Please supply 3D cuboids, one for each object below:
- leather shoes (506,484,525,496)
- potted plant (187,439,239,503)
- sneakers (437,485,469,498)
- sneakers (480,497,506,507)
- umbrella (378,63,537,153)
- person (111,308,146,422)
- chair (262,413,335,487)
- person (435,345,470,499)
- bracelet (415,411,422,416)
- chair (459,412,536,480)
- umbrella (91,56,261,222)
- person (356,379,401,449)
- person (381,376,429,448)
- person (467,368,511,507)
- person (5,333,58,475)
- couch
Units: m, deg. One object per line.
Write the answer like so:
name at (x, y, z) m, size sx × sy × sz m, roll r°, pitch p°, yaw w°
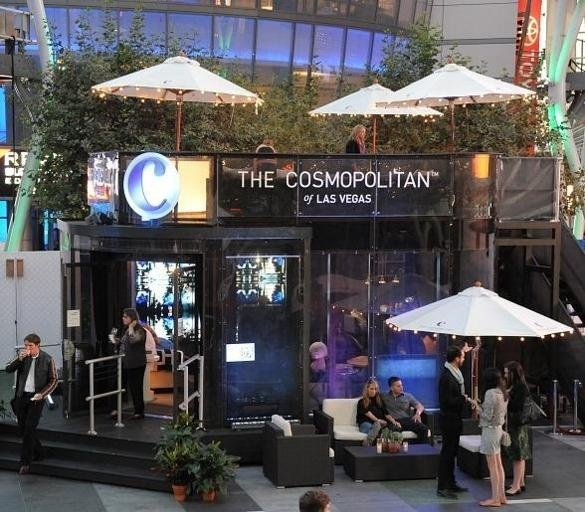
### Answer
leather shoes at (3.422, 3.584, 12.827) m, size 0.362 × 0.142 × 0.120 m, roll 8°, pitch -6°, yaw -34°
potted plant at (-1.185, 3.235, 12.589) m, size 0.688 × 0.778 × 0.496 m, roll 0°, pitch 1°, yaw -7°
sneakers at (2.458, 3.566, 12.678) m, size 0.498 × 0.150 × 0.221 m, roll 0°, pitch 1°, yaw -14°
sneakers at (2.943, 3.613, 12.270) m, size 0.278 × 0.082 × 0.164 m, roll 2°, pitch 2°, yaw 21°
umbrella at (3.104, -2.984, 16.728) m, size 2.651 × 1.799 × 3.238 m, roll 0°, pitch 1°, yaw -3°
person at (-2.878, 1.889, 14.849) m, size 0.562 × 1.938 × 0.769 m, roll 0°, pitch 1°, yaw -11°
chair at (0.141, 3.033, 13.424) m, size 1.041 × 1.019 × 0.966 m, roll -2°, pitch 4°, yaw -18°
person at (2.436, 2.512, 12.764) m, size 0.432 × 2.233 × 0.512 m, roll 0°, pitch 1°, yaw 11°
bracelet at (2.221, 2.750, 14.653) m, size 0.129 × 0.086 × 0.083 m, roll -1°, pitch -11°, yaw -32°
chair at (3.231, 3.245, 13.739) m, size 0.810 × 0.841 × 1.231 m, roll 1°, pitch -2°, yaw -5°
umbrella at (-2.114, -2.769, 15.341) m, size 2.240 × 1.852 × 2.353 m, roll 1°, pitch 1°, yaw 44°
person at (1.515, 2.752, 14.428) m, size 0.697 × 1.216 × 1.001 m, roll 0°, pitch -8°, yaw -1°
person at (1.984, 2.844, 14.594) m, size 0.694 × 1.447 × 0.949 m, roll -4°, pitch -9°, yaw -19°
person at (2.984, 2.660, 12.520) m, size 0.459 × 1.997 × 0.742 m, roll 0°, pitch 1°, yaw 13°
person at (-4.254, 2.409, 13.654) m, size 0.767 × 2.244 × 0.488 m, roll 1°, pitch 1°, yaw 32°
couch at (1.261, 3.054, 14.688) m, size 1.484 × 1.007 × 0.933 m, roll 0°, pitch 0°, yaw -14°
